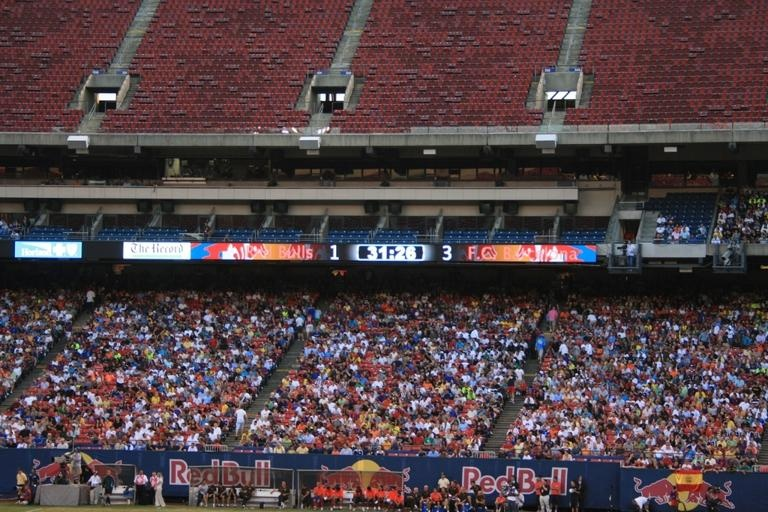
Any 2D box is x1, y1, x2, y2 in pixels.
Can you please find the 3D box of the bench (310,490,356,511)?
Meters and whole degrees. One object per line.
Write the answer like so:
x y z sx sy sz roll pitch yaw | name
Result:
-2.544 11.495 102.765 1.949 0.969 0.534 0 19 3 | bench

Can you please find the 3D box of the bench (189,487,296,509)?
-6.744 11.449 103.171 4.829 0.947 0.634 1 19 7 | bench

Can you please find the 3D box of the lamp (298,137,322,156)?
-4.078 -5.955 116.131 1.172 1.238 1.305 -2 19 -3 | lamp

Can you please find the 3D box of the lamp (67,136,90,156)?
-16.465 -6.102 116.818 1.029 0.953 0.517 -3 5 1 | lamp
